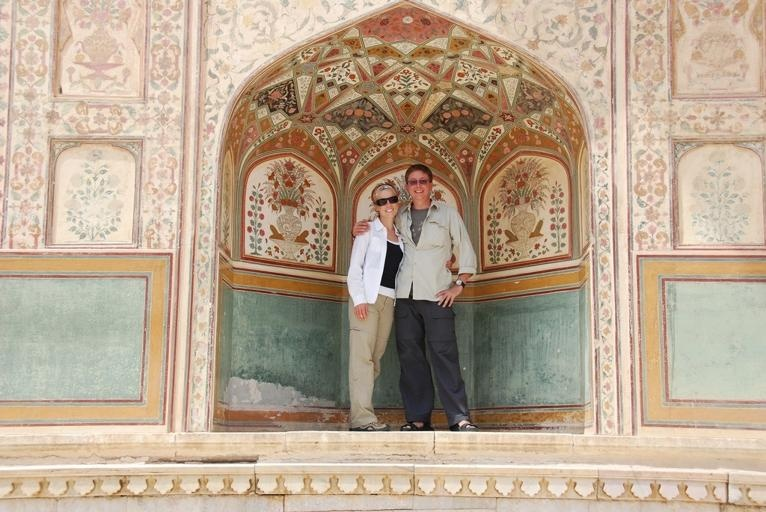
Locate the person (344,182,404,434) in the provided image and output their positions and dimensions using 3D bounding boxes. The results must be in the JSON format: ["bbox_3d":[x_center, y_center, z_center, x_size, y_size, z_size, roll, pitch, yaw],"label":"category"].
[{"bbox_3d":[-0.047,0.384,8.548,0.467,2.021,0.310,-1,-7,-1],"label":"person"}]

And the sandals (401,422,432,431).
[{"bbox_3d":[0.261,1.385,8.499,0.239,0.060,0.092,11,-13,-40],"label":"sandals"}]

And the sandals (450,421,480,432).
[{"bbox_3d":[0.631,1.348,8.251,0.260,0.093,0.095,-12,-13,30],"label":"sandals"}]

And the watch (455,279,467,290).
[{"bbox_3d":[0.636,0.218,8.573,0.093,0.055,0.090,22,-14,21],"label":"watch"}]
